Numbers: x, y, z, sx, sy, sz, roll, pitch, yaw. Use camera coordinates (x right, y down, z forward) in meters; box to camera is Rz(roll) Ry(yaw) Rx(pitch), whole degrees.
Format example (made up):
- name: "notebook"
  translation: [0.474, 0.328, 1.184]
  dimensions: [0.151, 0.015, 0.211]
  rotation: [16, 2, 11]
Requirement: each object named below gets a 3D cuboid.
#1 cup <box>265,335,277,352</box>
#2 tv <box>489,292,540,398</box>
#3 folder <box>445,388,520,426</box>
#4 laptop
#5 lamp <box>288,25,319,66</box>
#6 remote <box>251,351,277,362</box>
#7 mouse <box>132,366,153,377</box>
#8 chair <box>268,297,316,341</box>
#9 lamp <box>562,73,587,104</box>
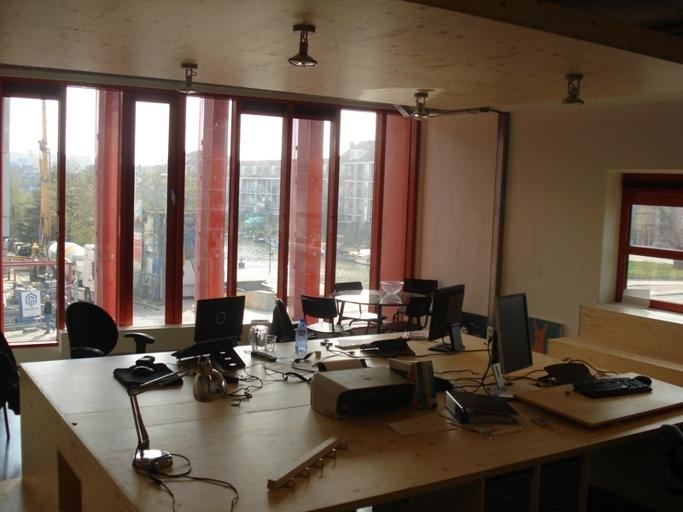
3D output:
- name: "cup"
  translation: [-0.579, 0.743, 4.864]
  dimensions: [0.114, 0.115, 0.114]
  rotation: [0, -3, 0]
- name: "tv"
  translation: [1.357, 0.711, 4.490]
  dimensions: [0.327, 0.898, 0.949]
  rotation: [-1, 0, 22]
- name: "folder"
  translation: [0.873, 0.977, 3.744]
  dimensions: [0.450, 0.086, 0.434]
  rotation: [8, 5, 5]
- name: "laptop"
  translation: [-0.963, 0.480, 4.623]
  dimensions: [0.435, 0.565, 0.632]
  rotation: [9, 8, 41]
- name: "lamp"
  translation: [-0.270, -1.503, 4.109]
  dimensions: [0.244, 0.246, 0.232]
  rotation: [0, 3, -12]
- name: "remote"
  translation: [-0.629, 0.813, 4.638]
  dimensions: [0.087, 0.037, 0.166]
  rotation: [-1, 9, -45]
- name: "mouse"
  translation: [-1.415, 0.822, 4.106]
  dimensions: [0.114, 0.034, 0.066]
  rotation: [4, -2, 9]
- name: "chair"
  translation: [-0.592, 0.699, 6.433]
  dimensions: [0.437, 0.514, 0.379]
  rotation: [3, 6, -20]
- name: "lamp"
  translation: [2.028, -1.447, 5.027]
  dimensions: [0.196, 0.238, 0.191]
  rotation: [-5, 15, -20]
